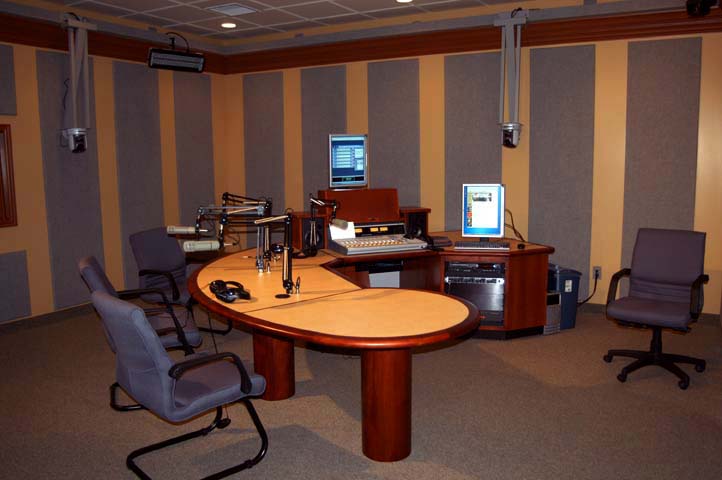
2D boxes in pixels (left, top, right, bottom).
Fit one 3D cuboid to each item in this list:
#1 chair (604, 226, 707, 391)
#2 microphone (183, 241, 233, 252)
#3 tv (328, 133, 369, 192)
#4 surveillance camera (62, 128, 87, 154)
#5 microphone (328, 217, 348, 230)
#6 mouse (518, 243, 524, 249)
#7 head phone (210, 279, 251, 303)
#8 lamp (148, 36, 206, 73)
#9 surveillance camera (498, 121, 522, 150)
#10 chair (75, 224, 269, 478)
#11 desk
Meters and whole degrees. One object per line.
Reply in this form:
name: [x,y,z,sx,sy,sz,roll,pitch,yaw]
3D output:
chair: [3.267,0.698,6.357,0.946,1.536,1.120,5,14,38]
microphone: [-1.590,0.064,5.910,0.523,0.140,0.136,-1,18,-9]
tv: [-0.160,-0.945,7.038,0.709,0.848,0.113,-2,4,-21]
surveillance camera: [-3.823,-1.327,7.688,0.307,0.303,0.319,1,12,3]
microphone: [-0.241,-0.185,6.423,0.172,0.041,0.111,12,22,28]
mouse: [1.945,0.072,6.990,0.069,0.047,0.068,-3,5,-9]
head phone: [-1.244,0.466,5.288,0.196,0.094,0.346,-10,16,-37]
lamp: [-2.745,-2.723,8.445,0.692,0.453,0.314,-5,12,-32]
surveillance camera: [2.005,-1.429,7.785,0.319,0.316,0.319,2,6,23]
chair: [-1.818,1.133,5.568,1.538,2.242,1.610,-8,19,-39]
desk: [-0.119,0.793,5.081,2.364,0.872,1.790,6,18,28]
